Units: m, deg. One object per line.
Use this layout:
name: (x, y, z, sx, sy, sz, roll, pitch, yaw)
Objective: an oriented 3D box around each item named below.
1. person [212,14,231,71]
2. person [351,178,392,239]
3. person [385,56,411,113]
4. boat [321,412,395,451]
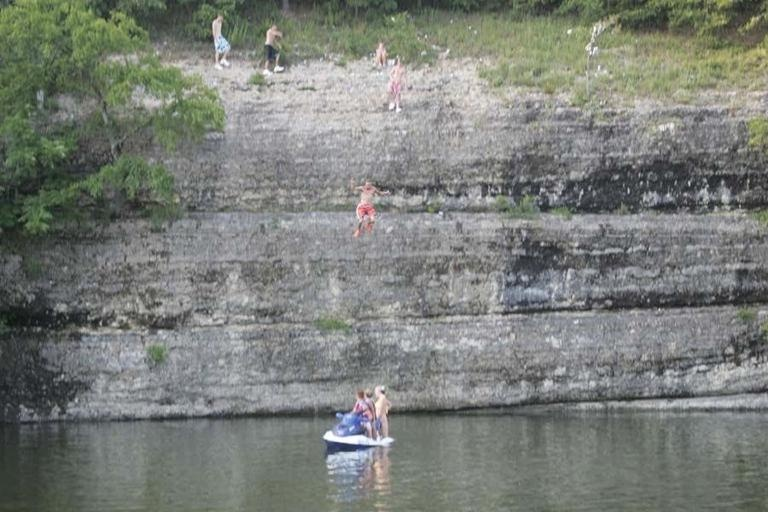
person: (-5.143, -6.376, 72.488, 0.523, 0.836, 1.333, -2, 54, -4)
person: (-0.478, -1.323, 71.794, 1.308, 2.427, 0.676, -1, 6, -18)
person: (0.281, -4.976, 72.325, 0.550, 0.723, 1.134, 2, 54, 0)
boat: (-0.963, 5.054, 67.935, 1.548, 1.032, 0.900, 9, 74, -25)
